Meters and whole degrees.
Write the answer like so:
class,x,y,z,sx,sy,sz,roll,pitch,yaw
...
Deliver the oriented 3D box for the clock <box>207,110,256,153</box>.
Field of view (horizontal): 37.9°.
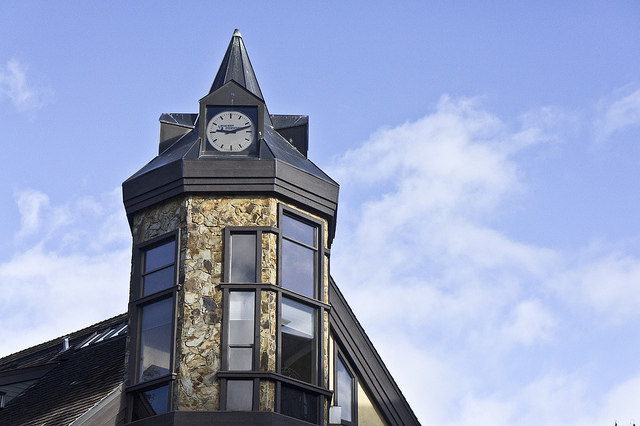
class,x,y,z,sx,sy,sz,roll,pitch,yaw
clock,-3.097,-2.776,32.156,1.309,0.125,1.439,-1,-85,-8
